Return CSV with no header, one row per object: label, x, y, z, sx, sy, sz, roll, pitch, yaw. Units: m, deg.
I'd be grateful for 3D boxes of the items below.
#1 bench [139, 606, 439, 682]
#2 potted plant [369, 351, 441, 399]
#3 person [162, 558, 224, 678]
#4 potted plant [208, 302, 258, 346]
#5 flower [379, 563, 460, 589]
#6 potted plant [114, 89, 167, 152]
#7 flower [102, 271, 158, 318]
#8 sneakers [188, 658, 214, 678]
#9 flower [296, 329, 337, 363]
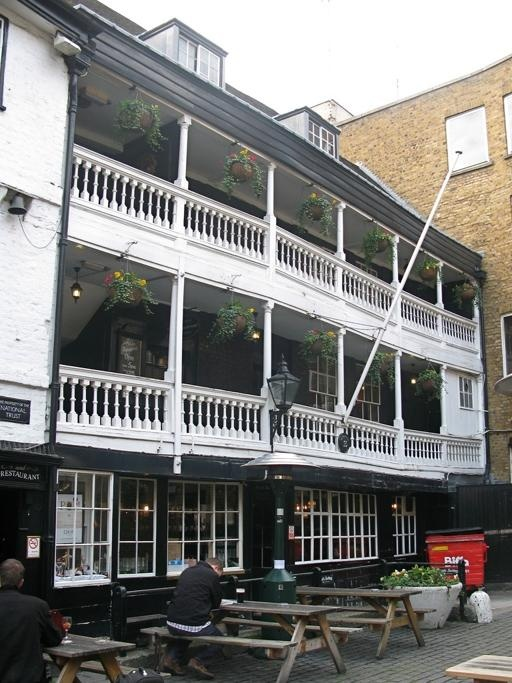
bench,0.336,3.444,8.970,1.603,0.407,1.456,-10,-13,42
potted plant,3.573,0.775,18.855,2.145,0.947,0.770,12,-8,11
person,-0.685,3.000,8.618,0.629,1.200,0.829,-1,-15,-4
potted plant,-0.278,-0.287,12.968,0.953,0.771,0.661,5,-10,-36
flower,2.437,3.485,11.709,1.057,0.284,0.956,3,-15,-18
potted plant,-1.729,-3.511,12.057,0.790,0.892,0.997,10,-16,-10
flower,-1.686,-0.780,11.245,0.863,0.570,0.718,9,-13,-27
sneakers,-0.547,3.455,8.327,0.178,0.130,0.408,-18,-37,20
flower,1.159,0.012,14.975,0.699,0.588,0.671,9,-14,-29
